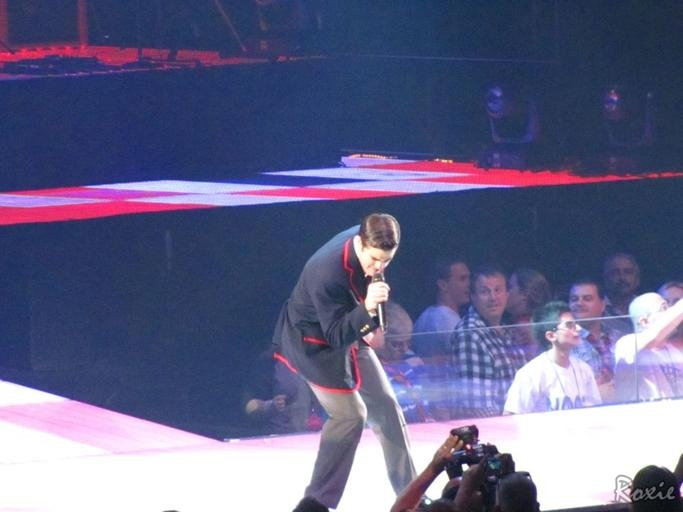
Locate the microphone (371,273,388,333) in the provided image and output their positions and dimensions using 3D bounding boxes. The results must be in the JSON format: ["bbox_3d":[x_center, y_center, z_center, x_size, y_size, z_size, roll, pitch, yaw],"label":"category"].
[{"bbox_3d":[0.198,0.252,4.793,0.080,0.286,0.076,0,3,-2],"label":"microphone"}]

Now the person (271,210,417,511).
[{"bbox_3d":[0.017,0.559,5.048,0.694,1.566,0.680,-5,13,-5],"label":"person"}]
